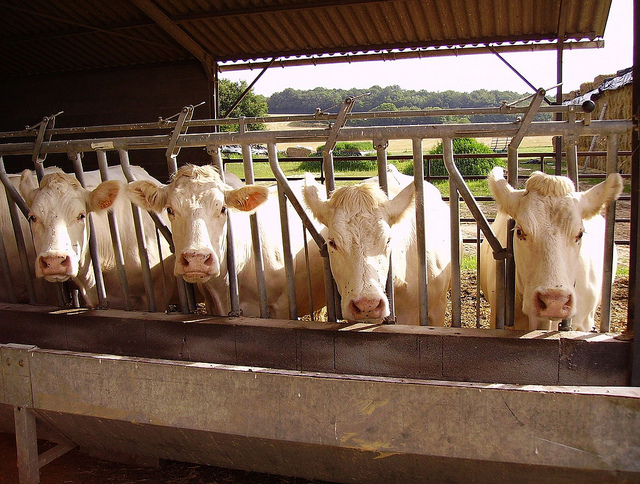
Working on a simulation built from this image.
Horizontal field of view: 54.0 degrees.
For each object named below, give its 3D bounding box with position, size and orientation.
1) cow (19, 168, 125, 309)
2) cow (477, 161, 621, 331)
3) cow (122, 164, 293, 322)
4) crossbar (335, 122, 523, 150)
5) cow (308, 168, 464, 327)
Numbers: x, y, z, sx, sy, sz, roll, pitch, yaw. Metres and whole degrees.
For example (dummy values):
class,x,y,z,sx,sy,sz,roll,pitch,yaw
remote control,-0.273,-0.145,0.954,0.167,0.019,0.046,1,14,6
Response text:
class,x,y,z,sx,sy,sz,roll,pitch,yaw
cow,-2.267,-0.083,5.828,0.832,1.337,2.265,1,14,-17
cow,1.842,0.195,5.179,0.916,1.432,2.665,0,0,17
cow,-0.969,-0.073,5.578,0.966,1.307,2.311,-1,14,-4
crossbar,0.733,-0.751,4.310,1.256,0.173,0.229,-3,6,10
cow,0.677,0.245,5.517,0.998,1.617,2.837,-2,0,19
